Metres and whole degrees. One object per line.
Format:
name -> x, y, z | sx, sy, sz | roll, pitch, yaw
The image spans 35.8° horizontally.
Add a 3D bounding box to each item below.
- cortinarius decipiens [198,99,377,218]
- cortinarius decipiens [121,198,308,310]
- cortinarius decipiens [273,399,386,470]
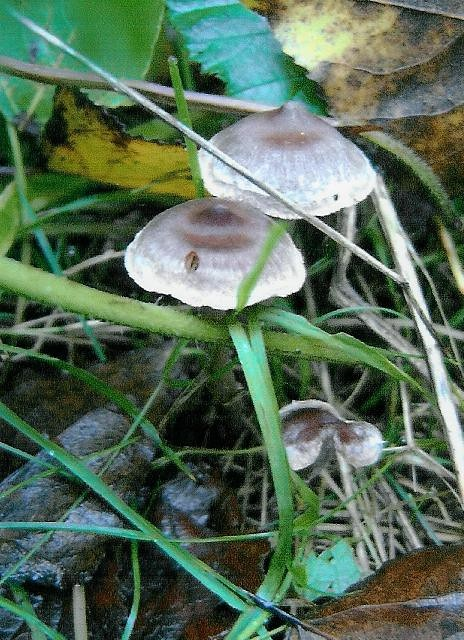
cortinarius decipiens -> 0.119, -0.329, 1.444 | 0.381, 0.144, 0.305 | 3, 46, -3
cortinarius decipiens -> 0.014, -0.106, 1.510 | 0.380, 0.250, 0.245 | -2, 93, 36
cortinarius decipiens -> 0.206, 0.239, 1.482 | 0.213, 0.081, 0.144 | 1, 60, 0
